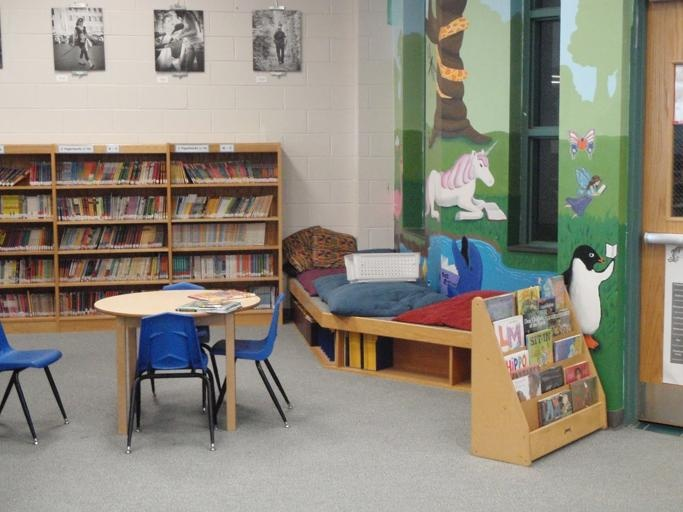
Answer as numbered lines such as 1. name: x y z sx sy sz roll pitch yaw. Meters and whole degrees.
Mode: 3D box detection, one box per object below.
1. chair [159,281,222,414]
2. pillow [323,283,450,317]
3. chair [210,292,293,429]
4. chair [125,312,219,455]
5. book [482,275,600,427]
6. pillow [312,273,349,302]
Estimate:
1. chair: -1.150 0.716 5.323 0.590 1.030 0.623 -1 3 -10
2. pillow: 0.322 0.316 6.265 1.259 0.244 0.996 1 9 -18
3. chair: -0.689 0.745 4.985 0.612 1.014 0.577 4 8 -18
4. chair: -1.227 0.792 4.621 0.608 0.950 0.849 -3 10 -11
5. book: 1.374 0.688 4.398 0.828 1.152 0.567 -15 14 -43
6. pillow: -0.119 0.309 6.638 0.261 0.079 0.271 -16 20 6
